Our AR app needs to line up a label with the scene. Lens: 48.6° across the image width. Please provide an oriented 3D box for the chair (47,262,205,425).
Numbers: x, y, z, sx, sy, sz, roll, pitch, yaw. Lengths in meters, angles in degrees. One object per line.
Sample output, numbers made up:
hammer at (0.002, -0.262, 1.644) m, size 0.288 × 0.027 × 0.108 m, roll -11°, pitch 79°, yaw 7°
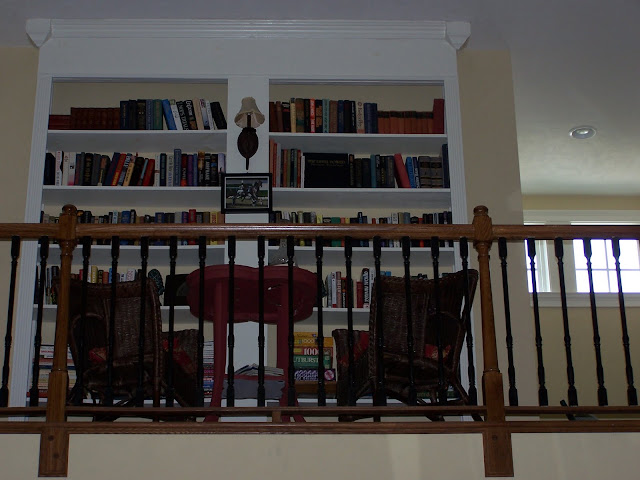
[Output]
chair at (-1.161, 0.542, 4.360) m, size 0.813 × 0.849 × 0.810 m, roll -12°, pitch 17°, yaw -40°

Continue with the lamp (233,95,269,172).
lamp at (-0.571, -0.875, 5.819) m, size 0.250 × 0.611 × 0.224 m, roll 0°, pitch -13°, yaw -7°

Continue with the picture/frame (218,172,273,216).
picture/frame at (-0.592, -0.368, 5.779) m, size 0.334 × 0.305 × 0.037 m, roll 0°, pitch -16°, yaw 0°

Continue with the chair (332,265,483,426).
chair at (0.599, 0.579, 4.388) m, size 0.843 × 1.122 × 0.952 m, roll 4°, pitch -17°, yaw -9°

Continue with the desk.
desk at (-0.490, 0.734, 4.430) m, size 0.857 × 0.987 × 0.963 m, roll 13°, pitch -9°, yaw -3°
